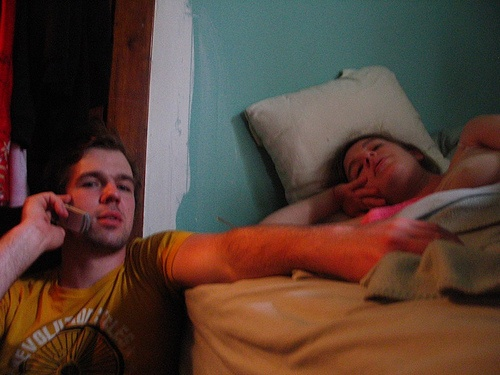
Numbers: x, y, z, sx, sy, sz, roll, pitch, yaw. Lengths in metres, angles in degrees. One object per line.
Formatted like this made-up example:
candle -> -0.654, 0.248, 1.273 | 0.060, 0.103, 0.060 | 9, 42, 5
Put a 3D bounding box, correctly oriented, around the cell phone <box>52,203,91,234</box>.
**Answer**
cell phone -> -0.640, 0.110, 1.712 | 0.159, 0.091, 0.039 | 21, 18, 31
